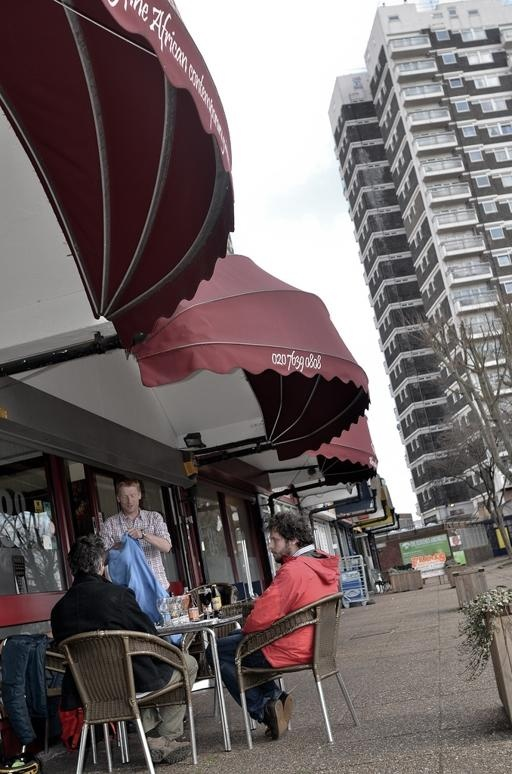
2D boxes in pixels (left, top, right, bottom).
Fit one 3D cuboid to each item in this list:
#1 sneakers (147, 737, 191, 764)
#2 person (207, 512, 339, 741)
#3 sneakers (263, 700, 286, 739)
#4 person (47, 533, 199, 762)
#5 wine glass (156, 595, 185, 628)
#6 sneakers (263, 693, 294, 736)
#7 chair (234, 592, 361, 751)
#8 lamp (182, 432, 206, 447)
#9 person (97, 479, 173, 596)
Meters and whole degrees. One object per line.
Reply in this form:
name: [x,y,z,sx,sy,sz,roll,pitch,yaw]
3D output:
sneakers: [-0.499,2.079,3.043,0.207,0.135,0.108,2,-2,-9]
person: [0.139,1.545,3.434,0.677,1.430,0.604,0,-12,21]
sneakers: [0.122,2.036,3.257,0.115,0.297,0.094,1,16,35]
person: [-0.731,1.461,2.979,0.515,1.257,0.663,-23,-20,29]
wine glass: [-0.583,1.587,3.706,0.200,0.222,0.194,-3,-11,5]
sneakers: [0.149,2.079,3.270,0.135,0.322,0.133,13,28,30]
chair: [0.239,1.758,3.193,0.474,0.680,0.487,-16,-33,2]
lamp: [-1.078,0.908,9.044,0.358,0.246,0.368,-15,-14,-7]
person: [-1.136,1.723,5.168,0.557,1.502,0.490,-9,6,-14]
